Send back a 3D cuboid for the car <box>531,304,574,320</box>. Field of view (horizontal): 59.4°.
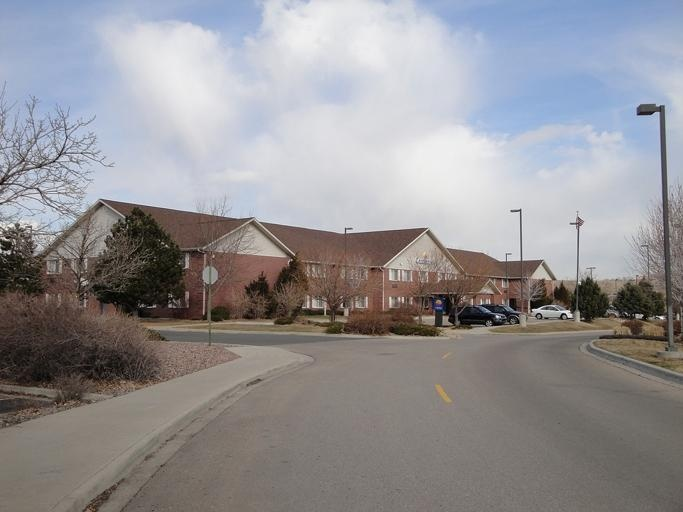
[{"bbox_3d":[22.395,5.957,63.709,2.839,1.364,5.863,1,-2,-10],"label":"car"}]

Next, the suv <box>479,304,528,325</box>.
[{"bbox_3d":[14.217,4.919,52.048,3.307,1.562,1.659,-4,0,24],"label":"suv"}]
